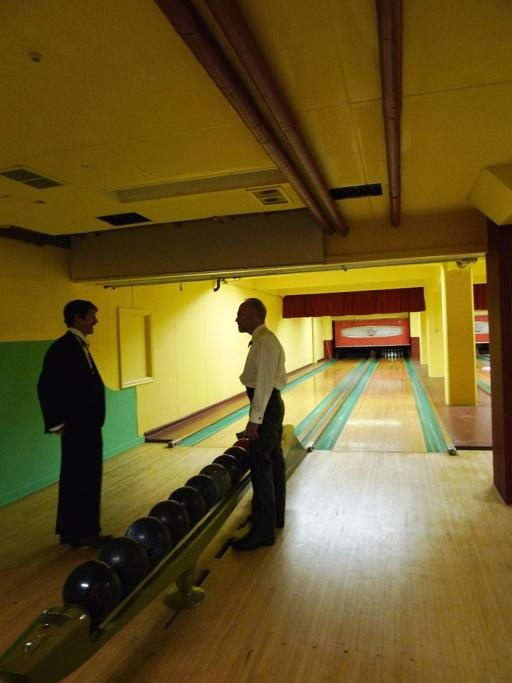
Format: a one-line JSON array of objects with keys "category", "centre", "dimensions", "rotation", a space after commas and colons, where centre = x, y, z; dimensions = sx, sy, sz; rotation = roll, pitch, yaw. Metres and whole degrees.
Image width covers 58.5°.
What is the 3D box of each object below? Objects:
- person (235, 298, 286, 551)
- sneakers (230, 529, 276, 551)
[{"category": "person", "centre": [0.011, 0.478, 2.780], "dimensions": [0.348, 1.458, 0.473], "rotation": [-3, 0, 3]}, {"category": "sneakers", "centre": [-0.025, 1.170, 2.714], "dimensions": [0.244, 0.103, 0.101], "rotation": [3, -8, -10]}]
